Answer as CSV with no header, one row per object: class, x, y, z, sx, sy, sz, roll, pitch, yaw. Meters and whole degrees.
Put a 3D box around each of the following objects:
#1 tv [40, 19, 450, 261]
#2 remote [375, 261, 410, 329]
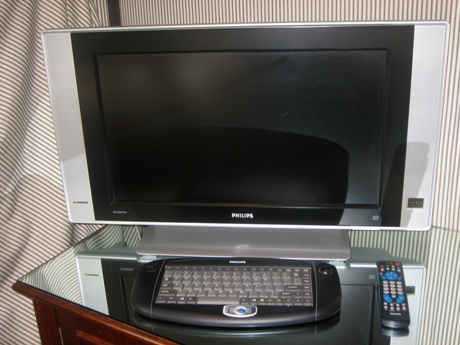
tv,0.063,-0.107,1.271,0.871,0.246,0.486,1,-67,5
remote,0.477,0.359,1.183,0.075,0.239,0.056,0,-62,17
